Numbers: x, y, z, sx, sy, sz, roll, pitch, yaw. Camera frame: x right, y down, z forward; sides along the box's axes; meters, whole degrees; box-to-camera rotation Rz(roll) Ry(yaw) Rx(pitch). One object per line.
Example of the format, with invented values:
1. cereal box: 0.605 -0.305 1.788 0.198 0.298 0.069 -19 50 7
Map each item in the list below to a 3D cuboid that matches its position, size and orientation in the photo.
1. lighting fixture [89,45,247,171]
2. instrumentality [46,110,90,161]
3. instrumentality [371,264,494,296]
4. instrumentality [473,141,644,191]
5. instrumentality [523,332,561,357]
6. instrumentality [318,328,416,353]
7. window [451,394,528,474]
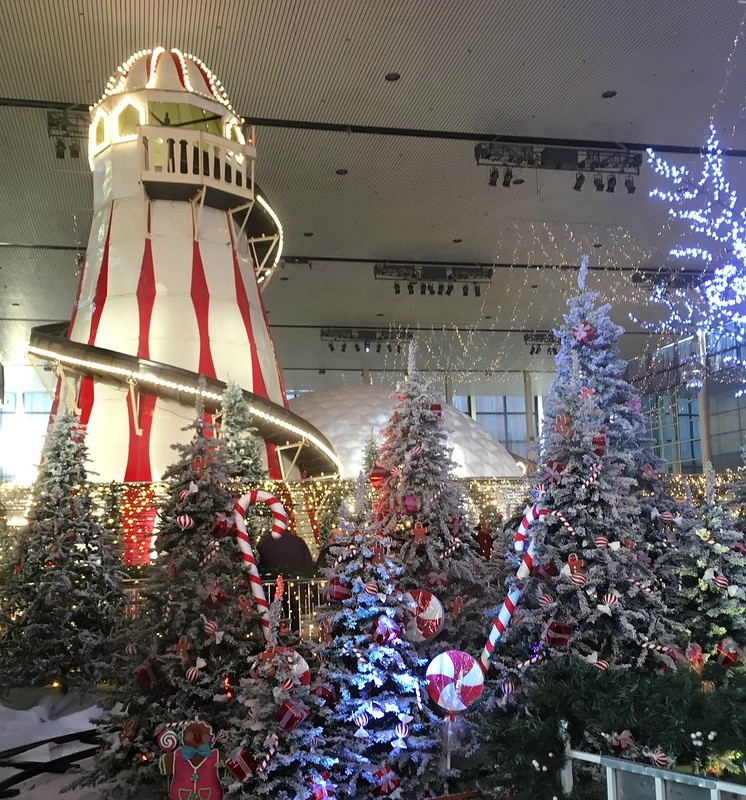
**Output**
1. lighting fixture: -4.770 -6.976 16.723 2.746 2.131 2.732 -4 -10 12
2. instrumentality: -7.487 -6.496 17.633 0.913 1.061 1.081 2 -12 -23
3. instrumentality: 2.193 -4.244 26.512 4.532 1.104 1.919 0 -11 -15
4. instrumentality: 4.882 -6.117 18.803 4.364 1.108 0.658 15 21 29
5. instrumentality: 7.823 -2.538 33.542 1.535 0.823 2.570 -7 -12 16
6. instrumentality: -0.291 -2.642 32.931 4.143 0.758 2.692 -2 -11 -6
7. window: 5.111 1.489 31.200 3.871 4.866 0.206 2 -18 -11
